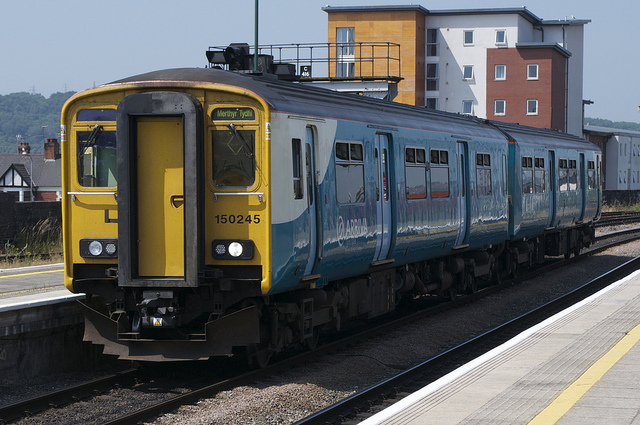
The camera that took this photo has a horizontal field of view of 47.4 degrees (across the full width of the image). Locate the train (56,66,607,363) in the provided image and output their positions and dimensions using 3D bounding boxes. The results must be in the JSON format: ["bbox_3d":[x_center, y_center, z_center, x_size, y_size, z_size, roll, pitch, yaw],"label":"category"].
[{"bbox_3d":[3.202,-0.182,21.132,4.671,5.766,24.187,0,2,27],"label":"train"}]

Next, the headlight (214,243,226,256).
[{"bbox_3d":[-1.519,0.570,11.084,0.158,0.176,0.039,3,-1,12],"label":"headlight"}]

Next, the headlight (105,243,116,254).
[{"bbox_3d":[-3.240,0.565,11.315,0.137,0.152,0.038,4,0,6],"label":"headlight"}]
